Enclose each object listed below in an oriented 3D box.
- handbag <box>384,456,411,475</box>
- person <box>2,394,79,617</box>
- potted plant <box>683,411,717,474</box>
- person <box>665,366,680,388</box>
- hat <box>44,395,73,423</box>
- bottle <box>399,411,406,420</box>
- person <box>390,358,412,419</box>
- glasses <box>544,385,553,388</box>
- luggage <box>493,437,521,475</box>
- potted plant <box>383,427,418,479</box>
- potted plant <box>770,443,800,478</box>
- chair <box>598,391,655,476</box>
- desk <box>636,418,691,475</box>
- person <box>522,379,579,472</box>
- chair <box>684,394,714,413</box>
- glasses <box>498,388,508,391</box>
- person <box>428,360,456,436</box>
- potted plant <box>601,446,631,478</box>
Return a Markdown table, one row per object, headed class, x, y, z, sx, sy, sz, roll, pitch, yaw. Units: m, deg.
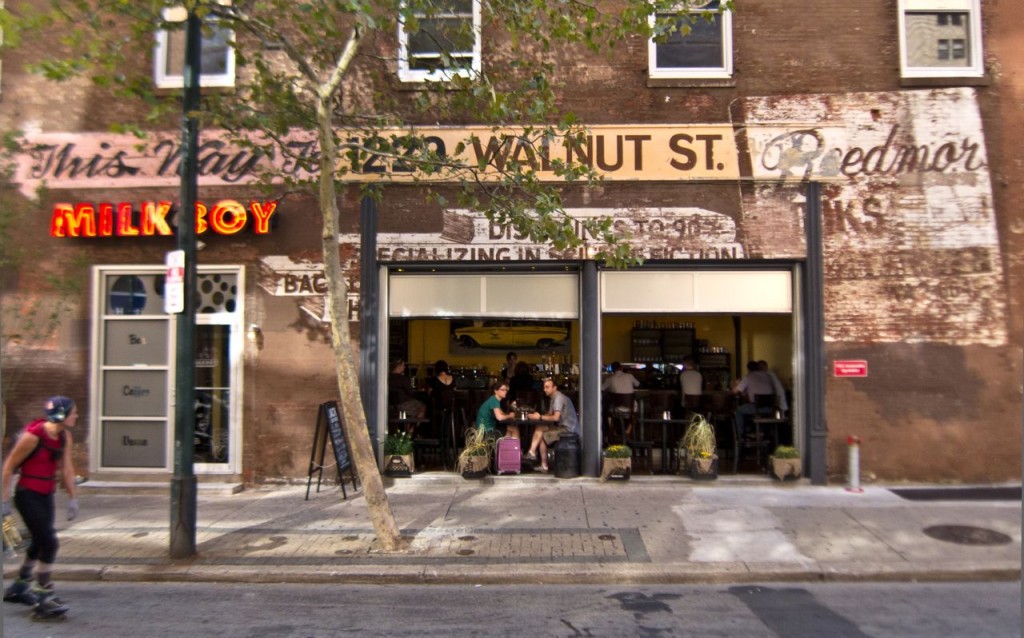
| class | x | y | z | sx | sy | sz | roll | pitch | yaw |
| --- | --- | --- | --- | --- | --- | --- | --- | --- | --- |
| handbag | -2.353 | 3.062 | 21.989 | 0.444 | 0.302 | 0.428 | 0 | -1 | 3 |
| person | -7.633 | 3.024 | 17.137 | 1.100 | 3.500 | 1.060 | 1 | -6 | -22 |
| potted plant | 3.850 | 2.637 | 22.056 | 0.633 | 1.312 | 0.907 | 0 | -5 | -8 |
| person | 4.188 | 1.512 | 27.746 | 0.484 | 0.828 | 0.476 | 2 | -9 | 6 |
| hat | -7.306 | 1.442 | 17.124 | 0.364 | 0.422 | 0.436 | -3 | 10 | -15 |
| bottle | -2.319 | 2.061 | 22.657 | 0.131 | 0.133 | 0.038 | 6 | -13 | -24 |
| person | -2.390 | 1.473 | 22.894 | 0.517 | 1.252 | 0.605 | -1 | -5 | -4 |
| glasses | 0.757 | 1.428 | 22.243 | 0.074 | 0.073 | 0.102 | -10 | -13 | 40 |
| luggage | -0.096 | 2.838 | 21.984 | 0.486 | 0.807 | 0.414 | -1 | -5 | -3 |
| potted plant | -2.338 | 2.842 | 22.263 | 0.909 | 1.133 | 0.817 | 0 | -2 | 2 |
| potted plant | 5.628 | 2.964 | 21.808 | 0.617 | 0.693 | 0.389 | -2 | -5 | 10 |
| chair | 2.085 | 2.411 | 22.884 | 1.550 | 1.934 | 1.497 | 0 | -10 | 4 |
| desk | 3.366 | 2.712 | 23.061 | 1.323 | 1.169 | 1.172 | 0 | 2 | 2 |
| person | 0.853 | 2.254 | 22.498 | 1.129 | 1.920 | 1.020 | -1 | -5 | 3 |
| chair | 4.175 | 1.902 | 23.809 | 0.581 | 0.428 | 0.331 | 1 | -6 | -20 |
| glasses | -0.218 | 1.489 | 22.396 | 0.085 | 0.059 | 0.111 | 3 | -9 | -28 |
| person | -1.546 | 1.752 | 23.559 | 0.535 | 1.700 | 1.346 | -1 | -5 | -7 |
| potted plant | 2.126 | 2.939 | 21.702 | 0.689 | 0.673 | 0.632 | 0 | -6 | 19 |
